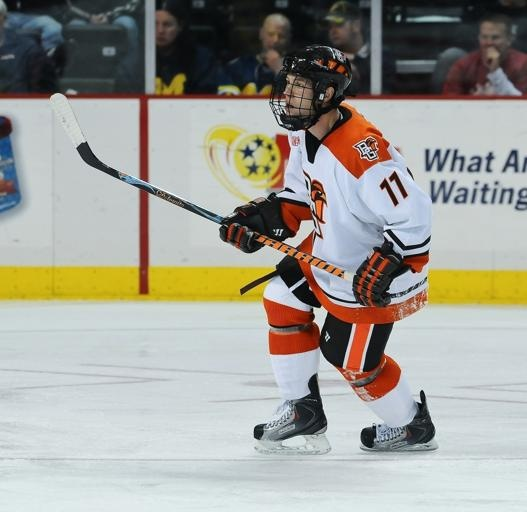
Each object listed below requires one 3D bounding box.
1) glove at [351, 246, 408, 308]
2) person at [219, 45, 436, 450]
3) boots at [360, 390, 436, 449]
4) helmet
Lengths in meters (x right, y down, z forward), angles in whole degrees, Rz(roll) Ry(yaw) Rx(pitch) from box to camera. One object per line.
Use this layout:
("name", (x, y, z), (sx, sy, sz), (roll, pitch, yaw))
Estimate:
("glove", (0.396, 0.059, 3.268), (0.144, 0.080, 0.222), (26, -5, 18))
("person", (0.211, -0.012, 3.381), (0.753, 1.448, 0.468), (10, 15, 38))
("boots", (0.424, 0.634, 3.486), (0.381, 0.187, 0.105), (1, 2, 1))
("helmet", (0.164, -0.627, 3.387), (0.287, 0.203, 0.189), (-1, 17, -28))
